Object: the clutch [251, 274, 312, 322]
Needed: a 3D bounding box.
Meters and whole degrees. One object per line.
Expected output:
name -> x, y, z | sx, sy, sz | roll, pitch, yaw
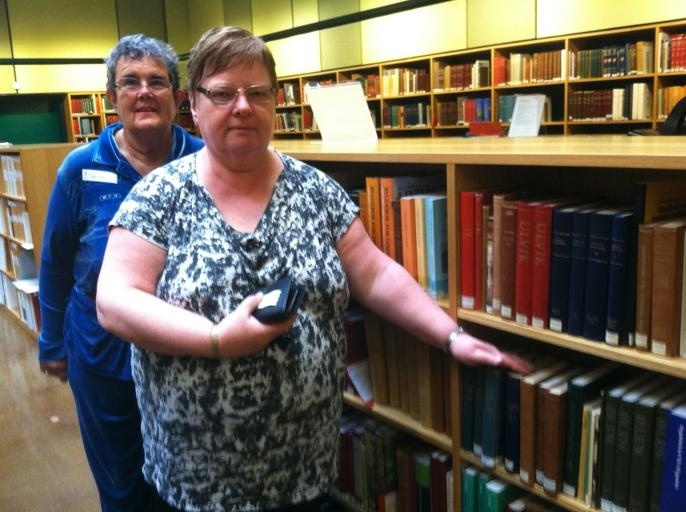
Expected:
clutch -> -0.162, 0.112, 1.304 | 0.114, 0.084, 0.130 | -10, 14, -29
